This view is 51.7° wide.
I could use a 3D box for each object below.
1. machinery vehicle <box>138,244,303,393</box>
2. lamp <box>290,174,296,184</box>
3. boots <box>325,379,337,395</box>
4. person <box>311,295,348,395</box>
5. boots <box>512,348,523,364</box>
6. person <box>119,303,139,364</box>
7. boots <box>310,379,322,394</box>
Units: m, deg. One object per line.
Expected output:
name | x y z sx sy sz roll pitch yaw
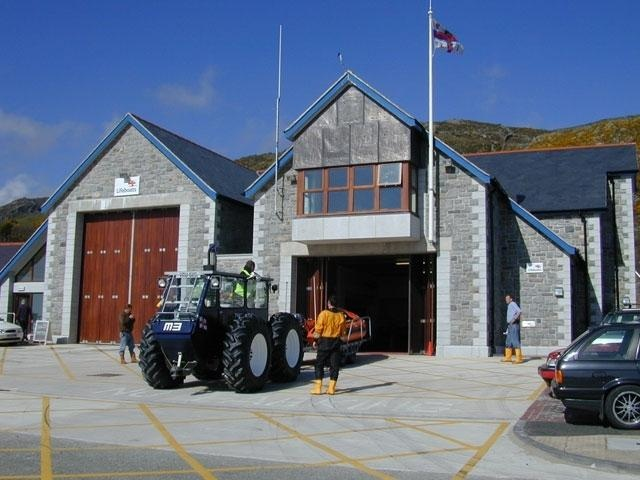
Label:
machinery vehicle | -2.519 2.402 17.646 3.162 3.201 4.570 -5 -7 28
lamp | -0.956 -2.325 24.979 0.155 0.389 0.384 1 -1 -40
boots | 0.286 3.546 16.134 0.232 0.356 0.468 0 -1 0
person | 0.212 2.577 16.406 0.791 2.320 1.093 0 -1 1
boots | 6.396 3.666 21.293 0.291 0.556 1.421 0 -1 17
person | -6.251 3.049 21.641 0.554 1.936 1.321 1 -1 -16
boots | -0.079 3.543 16.079 0.293 0.369 0.458 0 -1 -1
